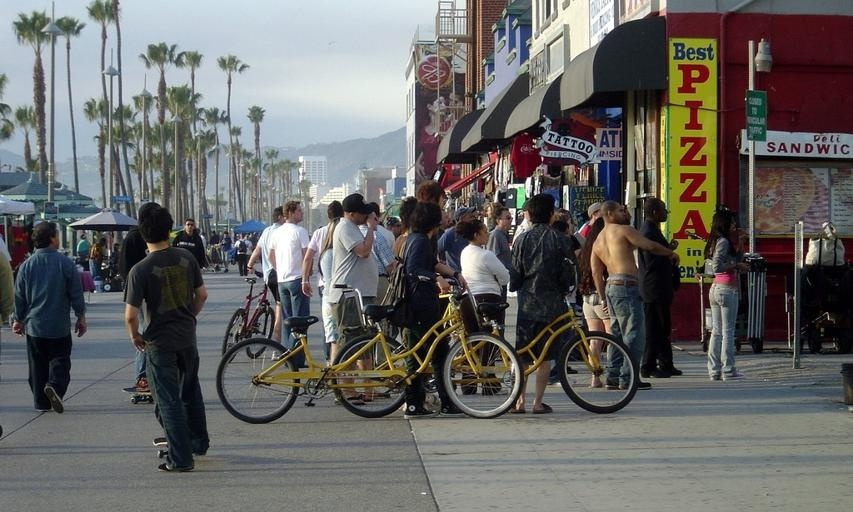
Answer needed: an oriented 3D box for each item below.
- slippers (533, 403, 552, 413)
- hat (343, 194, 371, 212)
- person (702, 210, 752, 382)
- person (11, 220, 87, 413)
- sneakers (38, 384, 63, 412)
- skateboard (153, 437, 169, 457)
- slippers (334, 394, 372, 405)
[{"bbox_3d":[1.999,2.597,25.357,0.279,0.112,0.162,-6,-7,43],"label":"slippers"},{"bbox_3d":[-1.228,-0.951,25.718,0.415,0.228,0.288,-7,24,-7],"label":"hat"},{"bbox_3d":[5.474,0.655,27.042,0.652,3.173,0.442,0,2,12],"label":"person"},{"bbox_3d":[-6.681,1.020,25.803,1.223,3.288,0.678,-1,2,-6],"label":"person"},{"bbox_3d":[-6.501,2.456,25.380,0.248,0.632,0.248,-22,-2,2],"label":"sneakers"},{"bbox_3d":[-4.316,3.061,23.757,0.252,0.349,0.140,-1,-2,-5],"label":"skateboard"},{"bbox_3d":[-1.261,2.426,25.194,0.644,0.257,0.228,1,1,0],"label":"slippers"}]
